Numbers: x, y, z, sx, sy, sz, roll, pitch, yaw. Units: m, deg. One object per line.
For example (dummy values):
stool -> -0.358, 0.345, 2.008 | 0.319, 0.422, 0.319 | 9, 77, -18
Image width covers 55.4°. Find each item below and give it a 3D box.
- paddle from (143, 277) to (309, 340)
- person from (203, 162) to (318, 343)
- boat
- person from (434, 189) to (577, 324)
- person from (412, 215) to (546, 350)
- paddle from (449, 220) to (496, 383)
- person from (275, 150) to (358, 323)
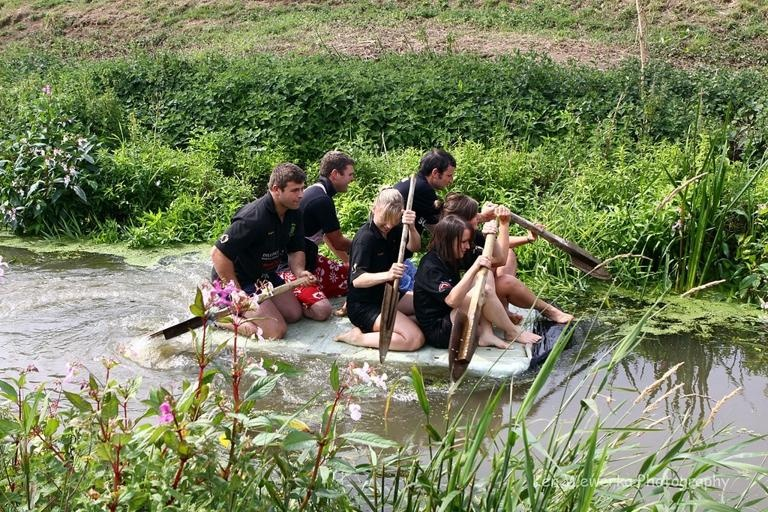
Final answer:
paddle -> -1.318, 0.479, 6.353 | 1.313, 0.125, 0.188 | -20, 9, 1
person -> -1.232, 0.000, 7.233 | 1.098, 1.858, 1.005 | -2, 22, -25
boat -> -0.029, 0.659, 6.677 | 3.732, 0.303, 1.258 | 2, 44, 21
person -> 1.140, 0.065, 7.280 | 1.664, 1.228, 0.756 | 4, 14, -2
person -> 0.869, 0.224, 6.837 | 1.221, 1.228, 0.764 | -1, 15, 23
paddle -> 0.722, 0.609, 6.393 | 0.335, 0.866, 0.749 | -1, 18, 15
person -> -0.632, -0.258, 7.833 | 1.025, 1.714, 0.916 | 1, 16, -37
